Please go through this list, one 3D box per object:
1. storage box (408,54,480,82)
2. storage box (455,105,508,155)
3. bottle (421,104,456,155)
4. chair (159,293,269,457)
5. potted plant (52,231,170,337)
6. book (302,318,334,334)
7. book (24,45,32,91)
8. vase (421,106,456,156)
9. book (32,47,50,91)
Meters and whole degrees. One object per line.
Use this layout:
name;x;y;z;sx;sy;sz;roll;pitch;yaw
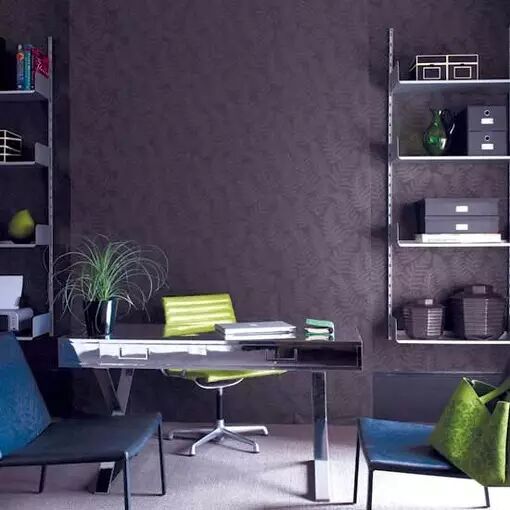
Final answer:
storage box;1.103;-1.082;3.522;0.343;0.145;0.062;2;9;10
storage box;1.318;-0.733;3.568;0.224;0.194;0.341;-11;13;3
bottle;1.092;-0.730;3.600;0.191;0.287;0.163;4;20;39
chair;-0.210;0.680;3.533;0.598;0.842;0.641;-6;1;-17
potted plant;-0.762;0.192;3.205;0.553;0.447;0.534;-1;3;37
book;0.307;0.340;2.948;0.118;0.071;0.034;7;23;16
book;-1.347;-1.112;3.611;0.059;0.260;0.026;-3;9;-22
vase;1.106;-0.743;3.662;0.183;0.286;0.286;3;9;18
book;-1.314;-1.130;3.704;0.051;0.224;0.225;2;-4;10
